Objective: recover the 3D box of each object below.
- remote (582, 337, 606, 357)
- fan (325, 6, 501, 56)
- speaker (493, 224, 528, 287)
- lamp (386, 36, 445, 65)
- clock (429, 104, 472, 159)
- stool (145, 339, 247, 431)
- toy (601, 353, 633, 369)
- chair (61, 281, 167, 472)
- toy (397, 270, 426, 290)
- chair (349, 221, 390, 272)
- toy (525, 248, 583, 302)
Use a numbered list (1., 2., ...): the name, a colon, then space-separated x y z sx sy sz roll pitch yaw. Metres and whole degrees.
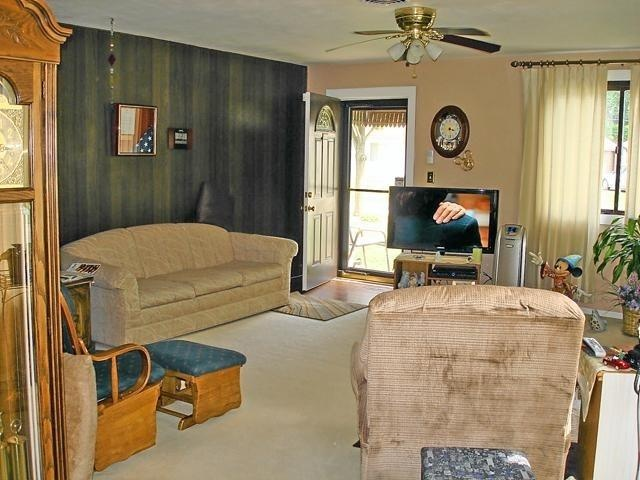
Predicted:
1. remote: 1.533 0.595 2.856 0.119 0.028 0.103 16 19 -24
2. fan: 0.916 -1.668 4.060 0.972 0.330 1.041 4 10 15
3. speaker: 2.117 0.161 5.653 0.306 0.656 0.360 5 12 20
4. lamp: 0.750 -1.495 4.025 0.343 0.125 0.340 2 8 21
5. clock: 1.630 -1.353 6.388 0.458 0.645 0.086 7 14 30
6. stool: -0.803 0.891 3.506 0.611 0.391 0.588 6 4 43
7. toy: 1.559 0.628 2.695 0.077 0.036 0.127 -4 2 -17
8. chair: -1.183 0.775 2.946 0.362 0.991 0.558 8 13 29
9. toy: 1.023 0.454 5.794 0.340 0.171 0.415 2 6 14
10. chair: 0.759 0.053 7.863 0.680 0.868 0.569 2 7 15
11. toy: 2.332 0.310 5.010 0.326 0.605 0.507 17 5 -10
